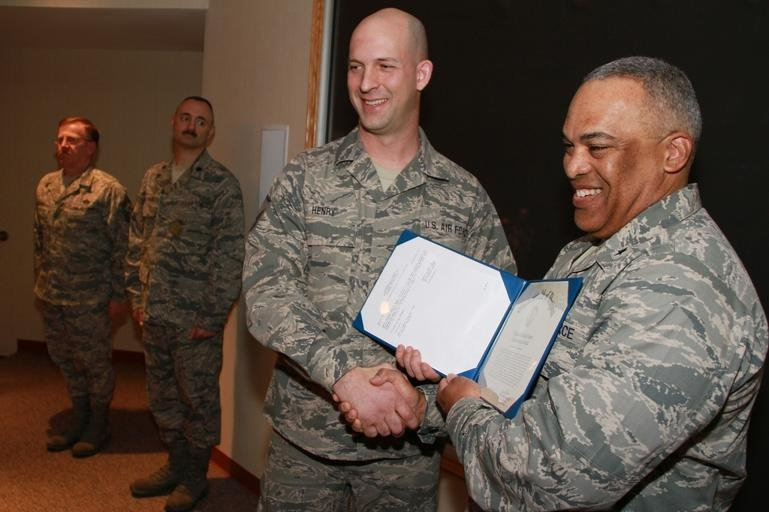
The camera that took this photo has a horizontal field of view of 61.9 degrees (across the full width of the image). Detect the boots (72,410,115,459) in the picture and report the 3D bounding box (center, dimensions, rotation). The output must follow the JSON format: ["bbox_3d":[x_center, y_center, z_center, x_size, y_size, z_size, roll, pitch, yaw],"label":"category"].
[{"bbox_3d":[-1.731,1.044,3.781,0.194,0.226,0.185,0,10,-18],"label":"boots"}]

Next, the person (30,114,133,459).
[{"bbox_3d":[-1.851,0.136,3.958,0.540,1.934,0.904,-2,11,-28],"label":"person"}]

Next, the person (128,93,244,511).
[{"bbox_3d":[-1.069,0.202,3.481,0.604,2.109,0.827,-1,11,-23],"label":"person"}]
